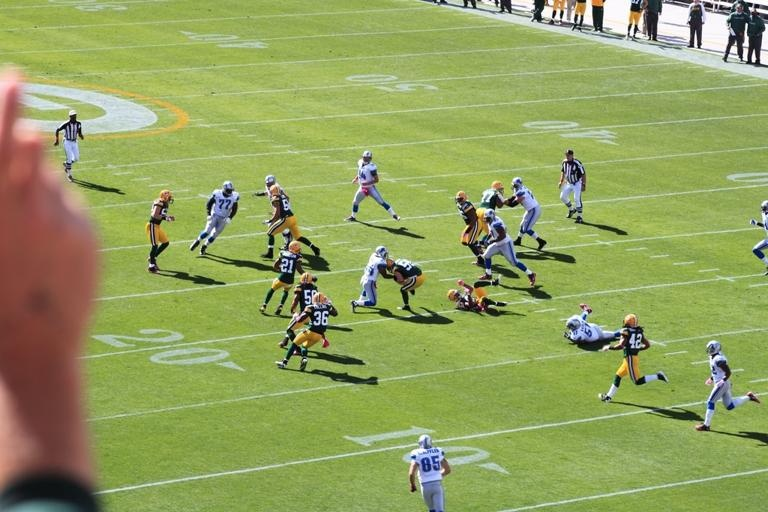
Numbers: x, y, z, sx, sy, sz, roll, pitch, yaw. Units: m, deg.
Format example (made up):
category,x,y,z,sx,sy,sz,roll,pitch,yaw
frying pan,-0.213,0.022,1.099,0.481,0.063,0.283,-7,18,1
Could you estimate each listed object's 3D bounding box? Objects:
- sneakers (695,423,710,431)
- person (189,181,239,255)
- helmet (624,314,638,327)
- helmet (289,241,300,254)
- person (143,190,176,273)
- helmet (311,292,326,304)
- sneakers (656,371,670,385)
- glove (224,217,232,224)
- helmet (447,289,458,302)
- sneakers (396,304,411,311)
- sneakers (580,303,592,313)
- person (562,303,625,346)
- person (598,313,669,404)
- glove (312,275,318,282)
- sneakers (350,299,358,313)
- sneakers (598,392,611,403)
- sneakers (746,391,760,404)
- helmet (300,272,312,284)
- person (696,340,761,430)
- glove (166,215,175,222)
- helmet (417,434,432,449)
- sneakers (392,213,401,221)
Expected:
category,x,y,z,sx,sy,sz,roll,pitch,yaw
sneakers,6.047,3.229,24.988,0.280,0.095,0.109,-3,40,7
person,-4.056,-0.930,31.678,0.970,1.802,0.794,5,13,-7
helmet,4.905,1.270,26.166,0.281,0.200,0.187,17,9,-14
helmet,-1.903,-0.187,28.786,0.295,0.232,0.290,11,-5,10
person,-5.237,-0.589,30.821,0.568,1.843,0.968,5,12,-9
helmet,-1.285,0.837,26.583,0.282,0.182,0.329,4,10,-4
sneakers,5.496,2.354,25.722,0.193,0.141,0.415,19,-18,46
glove,-3.695,-0.849,31.512,0.199,0.120,0.273,0,6,-11
helmet,1.570,0.890,29.619,0.224,0.262,0.273,5,11,-1
sneakers,0.483,1.135,29.381,0.367,0.109,0.114,9,21,29
sneakers,4.323,1.113,28.138,0.181,0.121,0.402,-35,-26,25
person,4.560,1.456,28.004,1.661,0.419,0.746,1,36,-2
person,4.983,1.969,25.978,1.243,1.714,1.086,7,12,7
glove,-1.550,0.502,29.910,0.161,0.143,0.079,-3,-17,6
sneakers,-0.636,1.090,29.189,0.176,0.238,0.289,6,10,-1
sneakers,4.336,2.747,25.831,0.127,0.103,0.272,-7,18,-27
sneakers,7.106,2.709,25.315,0.205,0.112,0.399,-16,-35,28
helmet,-1.603,0.449,27.603,0.229,0.187,0.356,5,10,0
person,6.643,2.440,25.234,1.075,1.672,1.180,9,12,14
glove,-4.983,-0.888,30.850,0.251,0.092,0.320,5,0,-10
helmet,0.706,3.070,21.886,0.205,0.198,0.204,6,11,6
sneakers,0.333,-1.015,34.047,0.247,0.179,0.585,-10,4,-7
